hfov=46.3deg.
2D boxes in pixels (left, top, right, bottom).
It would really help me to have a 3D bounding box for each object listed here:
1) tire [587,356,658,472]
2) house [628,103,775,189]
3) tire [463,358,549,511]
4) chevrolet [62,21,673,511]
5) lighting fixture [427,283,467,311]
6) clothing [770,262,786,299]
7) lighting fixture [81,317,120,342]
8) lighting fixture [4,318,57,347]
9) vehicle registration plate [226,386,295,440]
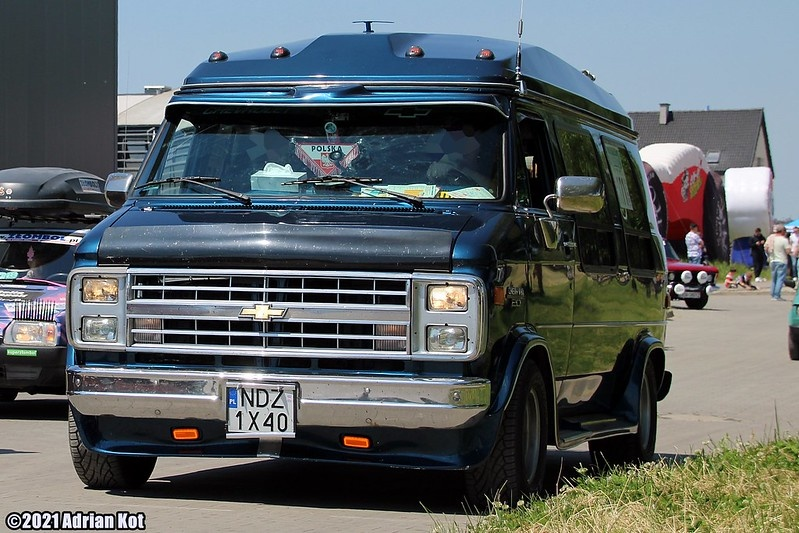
[{"bbox_3d":[2.140,1.405,8.969,0.372,0.895,0.911,-3,41,15],"label":"tire"},{"bbox_3d":[31.918,-13.686,99.633,14.249,7.828,11.692,11,42,40],"label":"house"},{"bbox_3d":[0.740,1.194,6.664,0.357,0.903,0.941,3,28,17],"label":"tire"},{"bbox_3d":[0.131,-0.069,7.605,4.891,4.133,2.581,8,-4,-36],"label":"chevrolet"},{"bbox_3d":[0.324,0.207,6.357,0.211,0.130,0.200,0,-1,12],"label":"lighting fixture"},{"bbox_3d":[13.451,0.490,32.981,0.497,1.241,1.687,5,-3,22],"label":"clothing"},{"bbox_3d":[-2.185,0.442,6.818,0.326,0.210,0.170,1,-1,12],"label":"lighting fixture"},{"bbox_3d":[-4.413,0.784,11.121,0.476,0.170,0.348,-1,-3,19],"label":"lighting fixture"},{"bbox_3d":[-0.990,0.997,6.498,0.563,0.376,0.068,10,-16,-42],"label":"vehicle registration plate"}]
